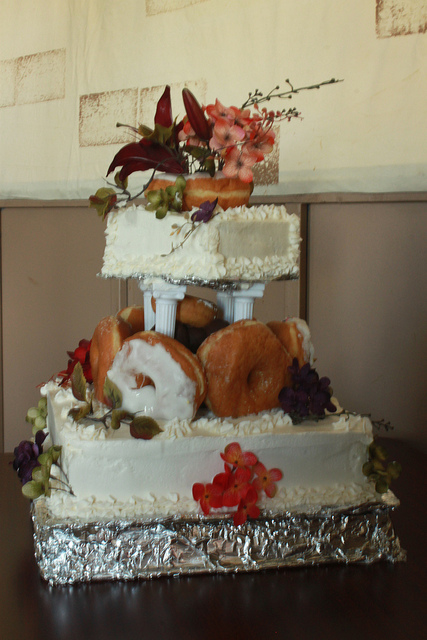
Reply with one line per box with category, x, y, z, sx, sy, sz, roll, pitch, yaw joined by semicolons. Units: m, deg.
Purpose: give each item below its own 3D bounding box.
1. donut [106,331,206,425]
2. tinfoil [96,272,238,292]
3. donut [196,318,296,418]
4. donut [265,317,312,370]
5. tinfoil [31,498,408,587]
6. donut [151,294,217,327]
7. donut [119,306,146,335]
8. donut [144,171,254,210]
donut;-0.081;0.081;0.897;0.137;0.135;0.051;36;12;4
tinfoil;-0.079;-0.063;0.984;0.236;0.026;0.249;1;2;-4
donut;0.044;0.075;0.915;0.158;0.152;0.057;-20;24;-29
donut;0.123;0.050;1.053;0.094;0.113;0.060;3;28;14
tinfoil;0.017;0.302;0.814;0.507;0.086;0.059;1;2;-9
donut;-0.049;-0.005;1.038;0.072;0.027;0.071;17;0;14
donut;-0.148;0.000;1.132;0.053;0.051;0.053;6;9;-4
donut;-0.024;-0.205;0.939;0.113;0.039;0.106;-2;10;-5
